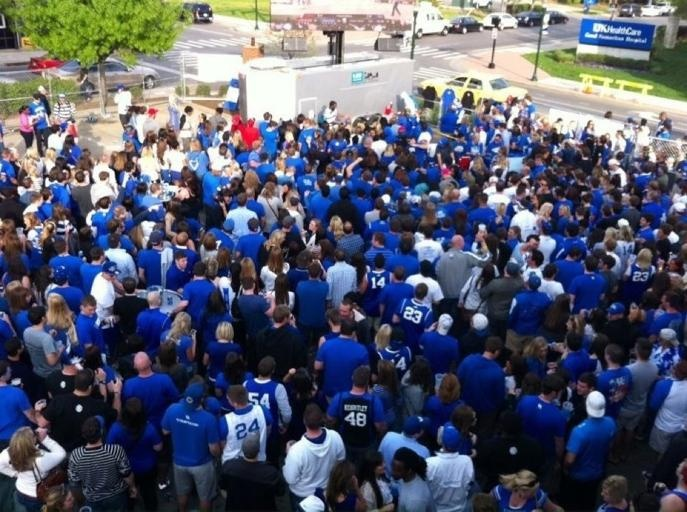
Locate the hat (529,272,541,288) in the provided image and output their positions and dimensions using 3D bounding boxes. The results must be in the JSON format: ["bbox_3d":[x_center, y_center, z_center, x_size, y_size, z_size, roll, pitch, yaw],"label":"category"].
[{"bbox_3d":[3.120,0.395,12.779,0.122,0.141,0.207,-26,31,45],"label":"hat"}]

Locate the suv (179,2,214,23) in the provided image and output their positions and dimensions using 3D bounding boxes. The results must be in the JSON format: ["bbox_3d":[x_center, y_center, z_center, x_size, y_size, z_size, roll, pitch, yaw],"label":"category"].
[{"bbox_3d":[-9.584,-16.325,52.254,1.295,1.241,2.730,14,21,26],"label":"suv"}]

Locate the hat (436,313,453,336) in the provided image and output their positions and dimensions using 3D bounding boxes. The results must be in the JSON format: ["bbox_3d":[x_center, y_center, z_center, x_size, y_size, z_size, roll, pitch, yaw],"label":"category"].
[{"bbox_3d":[1.579,1.017,12.118,0.210,0.192,0.348,15,31,-3],"label":"hat"}]

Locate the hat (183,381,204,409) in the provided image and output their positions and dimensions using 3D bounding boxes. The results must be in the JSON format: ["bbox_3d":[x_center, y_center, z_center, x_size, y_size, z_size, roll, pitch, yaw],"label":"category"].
[{"bbox_3d":[-2.053,1.901,10.790,0.248,0.186,0.344,12,57,1],"label":"hat"}]

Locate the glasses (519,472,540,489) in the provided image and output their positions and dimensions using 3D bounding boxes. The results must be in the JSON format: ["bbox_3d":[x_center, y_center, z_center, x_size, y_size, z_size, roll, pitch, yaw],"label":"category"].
[{"bbox_3d":[2.367,2.892,10.116,0.229,0.196,0.176,5,0,6],"label":"glasses"}]

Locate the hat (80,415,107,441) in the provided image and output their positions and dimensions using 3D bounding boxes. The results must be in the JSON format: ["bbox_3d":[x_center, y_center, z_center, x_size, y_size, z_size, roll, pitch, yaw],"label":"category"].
[{"bbox_3d":[-3.333,2.329,10.586,0.298,0.419,0.403,4,-8,-15],"label":"hat"}]

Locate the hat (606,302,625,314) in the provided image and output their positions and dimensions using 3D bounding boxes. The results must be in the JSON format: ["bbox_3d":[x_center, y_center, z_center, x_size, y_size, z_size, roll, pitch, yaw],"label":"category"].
[{"bbox_3d":[4.422,0.864,12.729,0.248,0.156,0.173,-2,24,9],"label":"hat"}]

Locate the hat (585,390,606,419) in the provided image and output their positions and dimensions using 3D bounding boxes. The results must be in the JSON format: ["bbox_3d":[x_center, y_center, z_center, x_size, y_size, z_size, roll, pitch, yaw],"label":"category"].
[{"bbox_3d":[3.537,2.093,10.957,0.258,0.204,0.385,-2,56,17],"label":"hat"}]

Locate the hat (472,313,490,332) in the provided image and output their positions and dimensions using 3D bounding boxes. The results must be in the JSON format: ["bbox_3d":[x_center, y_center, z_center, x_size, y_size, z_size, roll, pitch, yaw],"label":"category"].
[{"bbox_3d":[2.133,1.006,12.287,0.223,0.294,0.288,-1,40,2],"label":"hat"}]

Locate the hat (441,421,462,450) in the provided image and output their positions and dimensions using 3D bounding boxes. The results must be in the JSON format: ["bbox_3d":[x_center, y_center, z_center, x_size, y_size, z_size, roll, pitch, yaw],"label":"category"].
[{"bbox_3d":[1.427,2.414,10.431,0.220,0.352,0.342,-8,-17,1],"label":"hat"}]

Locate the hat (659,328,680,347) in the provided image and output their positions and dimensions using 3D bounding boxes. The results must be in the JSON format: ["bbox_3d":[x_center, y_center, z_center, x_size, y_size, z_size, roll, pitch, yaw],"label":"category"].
[{"bbox_3d":[5.090,1.212,12.196,0.219,0.231,0.274,-30,51,-27],"label":"hat"}]

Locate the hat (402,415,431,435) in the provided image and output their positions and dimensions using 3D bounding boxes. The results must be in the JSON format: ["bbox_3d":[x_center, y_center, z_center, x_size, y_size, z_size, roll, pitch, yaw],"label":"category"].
[{"bbox_3d":[1.006,2.289,10.650,0.335,0.185,0.219,-19,42,-14],"label":"hat"}]

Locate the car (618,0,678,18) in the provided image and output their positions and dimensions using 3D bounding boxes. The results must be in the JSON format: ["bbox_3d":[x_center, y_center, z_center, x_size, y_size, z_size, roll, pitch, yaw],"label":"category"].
[{"bbox_3d":[22.013,-18.248,57.242,3.953,1.195,3.423,4,19,-1],"label":"car"}]
